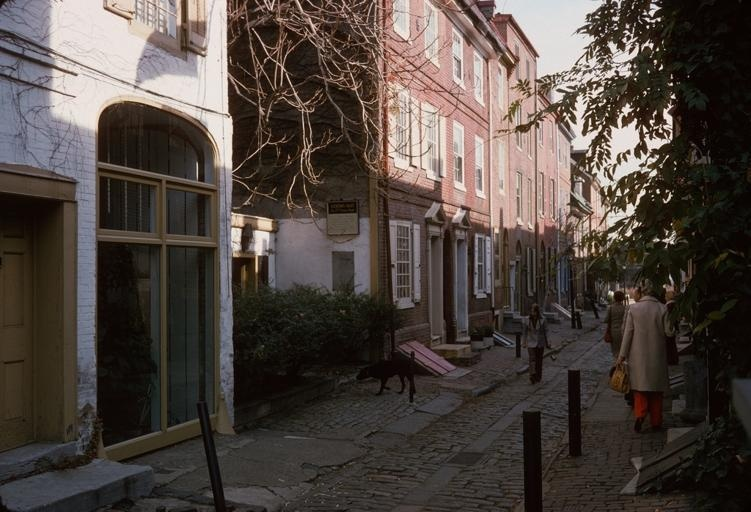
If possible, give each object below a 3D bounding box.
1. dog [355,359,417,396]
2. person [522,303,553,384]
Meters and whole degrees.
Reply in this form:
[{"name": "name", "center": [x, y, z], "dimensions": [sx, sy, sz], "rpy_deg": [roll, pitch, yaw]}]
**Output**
[{"name": "dog", "center": [0.278, 2.427, 14.183], "dimensions": [1.073, 0.788, 1.427], "rpy_deg": [2, 3, 5]}, {"name": "person", "center": [3.670, 1.981, 15.889], "dimensions": [0.590, 1.834, 0.912], "rpy_deg": [2, 3, 13]}]
